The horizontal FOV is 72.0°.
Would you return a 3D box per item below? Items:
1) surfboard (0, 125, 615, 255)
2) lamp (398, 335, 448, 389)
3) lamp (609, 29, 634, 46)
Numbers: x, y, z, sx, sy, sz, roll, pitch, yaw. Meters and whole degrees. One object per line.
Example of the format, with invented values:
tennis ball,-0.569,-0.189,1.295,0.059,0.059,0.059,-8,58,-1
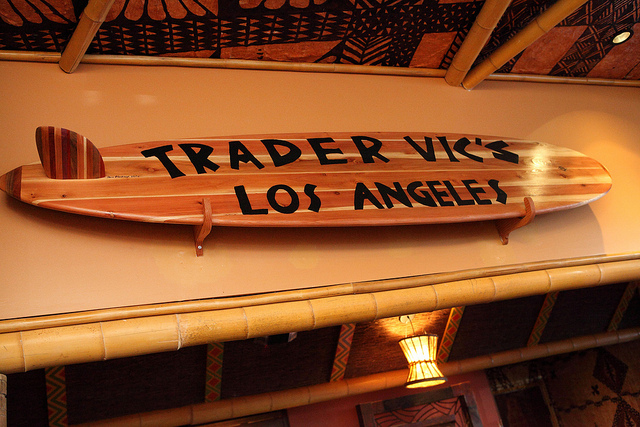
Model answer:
surfboard,-0.223,-0.174,3.695,4.935,0.981,0.921,1,-25,-15
lamp,1.005,1.465,4.339,0.430,0.439,0.414,-14,-28,16
lamp,3.272,-1.907,4.783,0.222,0.165,0.116,9,19,9
